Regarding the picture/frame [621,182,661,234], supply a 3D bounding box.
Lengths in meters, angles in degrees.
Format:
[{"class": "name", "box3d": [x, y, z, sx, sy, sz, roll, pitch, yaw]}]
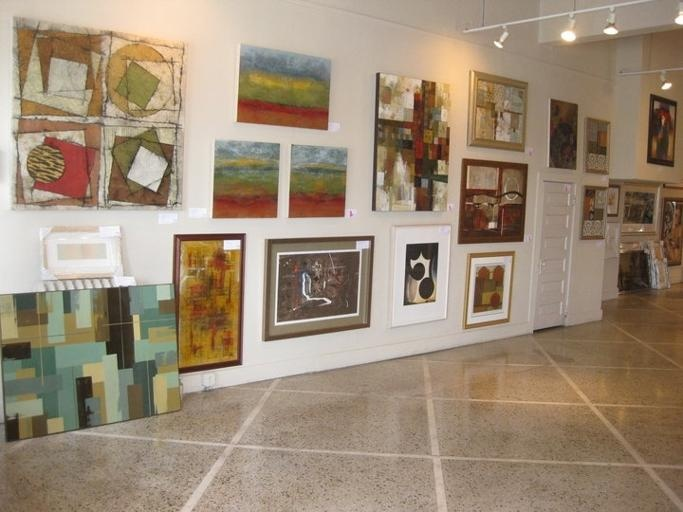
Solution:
[{"class": "picture/frame", "box3d": [7.047, -1.091, 12.125, 1.716, 1.176, 0.226, -7, 14, -40]}]
